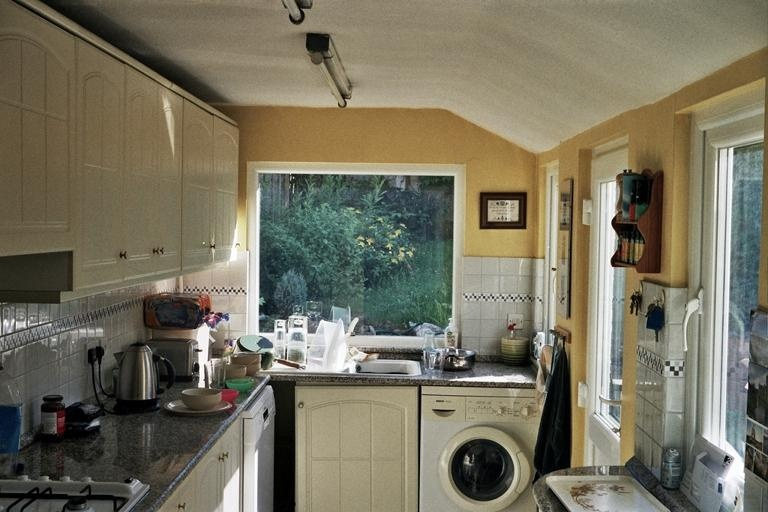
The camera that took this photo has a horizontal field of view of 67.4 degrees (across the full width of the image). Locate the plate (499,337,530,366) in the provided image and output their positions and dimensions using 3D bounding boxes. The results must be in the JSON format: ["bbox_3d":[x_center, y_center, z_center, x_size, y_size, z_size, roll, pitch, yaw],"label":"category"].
[{"bbox_3d":[1.114,0.798,4.891,0.213,0.184,0.212,2,-2,-31],"label":"plate"}]

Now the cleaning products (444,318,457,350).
[{"bbox_3d":[0.582,0.652,4.977,0.104,0.250,0.224,1,0,9],"label":"cleaning products"}]

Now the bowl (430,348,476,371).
[{"bbox_3d":[0.554,0.827,4.624,0.198,0.102,0.243,2,-1,28],"label":"bowl"}]

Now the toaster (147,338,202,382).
[{"bbox_3d":[-1.524,0.732,4.226,0.339,0.309,0.184,4,8,6],"label":"toaster"}]

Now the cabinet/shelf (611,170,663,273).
[{"bbox_3d":[1.321,-0.192,3.067,0.121,0.574,0.354,1,0,-12],"label":"cabinet/shelf"}]

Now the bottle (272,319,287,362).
[{"bbox_3d":[-0.871,0.691,4.871,0.101,0.303,0.315,1,0,-11],"label":"bottle"}]

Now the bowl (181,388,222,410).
[{"bbox_3d":[-1.140,0.885,3.582,0.149,0.071,0.154,0,-4,0],"label":"bowl"}]

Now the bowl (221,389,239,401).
[{"bbox_3d":[-1.010,0.912,3.801,0.107,0.073,0.118,1,0,-16],"label":"bowl"}]

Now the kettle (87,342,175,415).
[{"bbox_3d":[-1.577,0.719,3.652,0.496,0.451,0.406,1,1,-14],"label":"kettle"}]

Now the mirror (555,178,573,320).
[{"bbox_3d":[1.299,-0.065,4.166,0.065,1.025,0.412,1,0,9],"label":"mirror"}]

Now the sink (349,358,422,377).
[{"bbox_3d":[0.077,0.915,4.772,0.585,0.117,0.317,1,0,27],"label":"sink"}]

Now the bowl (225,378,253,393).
[{"bbox_3d":[-1.007,0.890,4.022,0.191,0.084,0.218,1,0,-3],"label":"bowl"}]

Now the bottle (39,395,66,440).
[{"bbox_3d":[-1.833,0.876,3.186,0.135,0.199,0.144,1,0,0],"label":"bottle"}]

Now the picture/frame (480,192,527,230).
[{"bbox_3d":[1.033,-0.411,4.970,0.294,0.258,0.023,0,1,-1],"label":"picture/frame"}]

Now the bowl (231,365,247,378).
[{"bbox_3d":[-1.065,0.830,4.212,0.108,0.081,0.158,1,0,-14],"label":"bowl"}]
